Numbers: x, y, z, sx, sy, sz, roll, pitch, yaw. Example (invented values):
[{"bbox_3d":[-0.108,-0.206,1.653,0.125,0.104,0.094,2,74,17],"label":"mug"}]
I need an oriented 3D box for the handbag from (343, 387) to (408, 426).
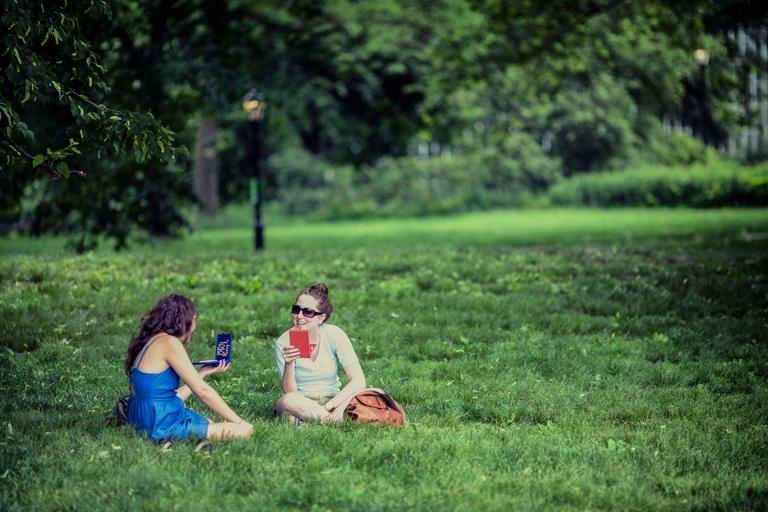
[{"bbox_3d":[-0.190,2.810,22.426,0.884,0.392,0.711,0,50,-28],"label":"handbag"}]

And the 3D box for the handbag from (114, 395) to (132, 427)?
[{"bbox_3d":[-4.851,2.829,22.106,0.157,0.502,0.373,9,-24,-17],"label":"handbag"}]
